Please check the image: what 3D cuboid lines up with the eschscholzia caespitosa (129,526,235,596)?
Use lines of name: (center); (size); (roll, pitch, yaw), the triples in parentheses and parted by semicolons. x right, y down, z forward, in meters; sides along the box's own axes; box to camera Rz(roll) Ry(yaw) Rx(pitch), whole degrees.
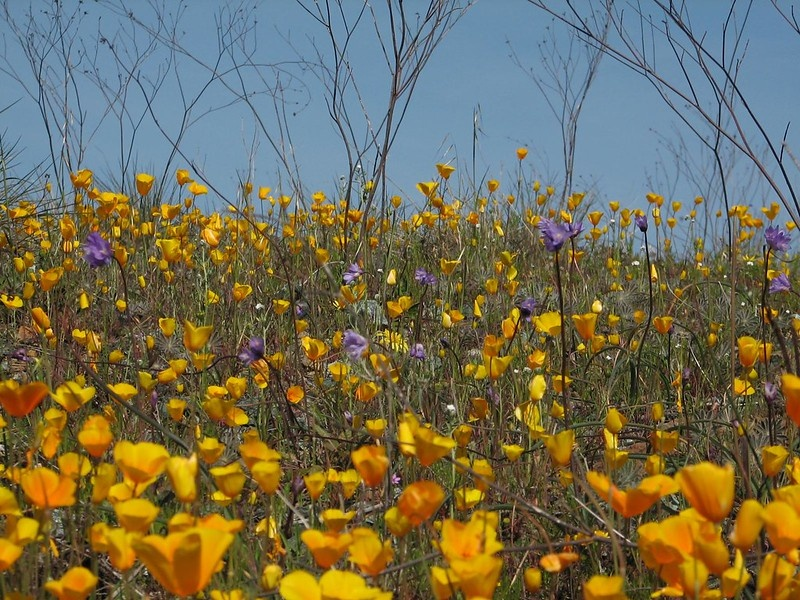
eschscholzia caespitosa: (-0.543, 0.608, 1.870); (0.164, 0.155, 0.185); (-5, -1, 22)
